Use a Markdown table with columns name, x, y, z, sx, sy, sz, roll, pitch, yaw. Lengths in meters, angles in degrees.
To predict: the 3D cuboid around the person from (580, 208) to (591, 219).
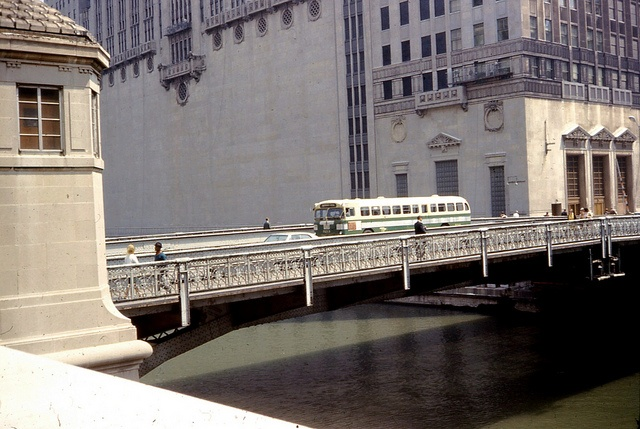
| name | x | y | z | sx | sy | sz | roll | pitch | yaw |
| --- | --- | --- | --- | --- | --- | --- | --- | --- | --- |
| person | 20.812 | -0.125 | 66.405 | 0.561 | 0.566 | 2.144 | -4 | -7 | 20 |

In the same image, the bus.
| name | x | y | z | sx | sy | sz | roll | pitch | yaw |
| --- | --- | --- | --- | --- | --- | --- | --- | --- | --- |
| bus | 5.931 | -0.220 | 64.522 | 13.555 | 3.001 | 4.343 | -10 | 14 | -39 |
